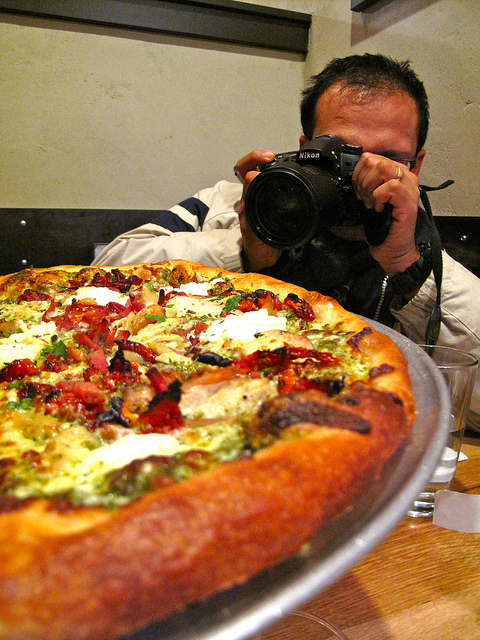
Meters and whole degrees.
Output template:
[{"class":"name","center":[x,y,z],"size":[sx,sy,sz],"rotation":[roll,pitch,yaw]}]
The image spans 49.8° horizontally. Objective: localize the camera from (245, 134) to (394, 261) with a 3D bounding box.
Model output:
[{"class":"camera","center":[0.245,-0.338,1.536],"size":[0.419,0.237,0.423],"rotation":[15,29,35]}]

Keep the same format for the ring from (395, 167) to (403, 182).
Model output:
[{"class":"ring","center":[0.464,-0.424,1.497],"size":[0.020,0.029,0.027],"rotation":[3,-11,8]}]
